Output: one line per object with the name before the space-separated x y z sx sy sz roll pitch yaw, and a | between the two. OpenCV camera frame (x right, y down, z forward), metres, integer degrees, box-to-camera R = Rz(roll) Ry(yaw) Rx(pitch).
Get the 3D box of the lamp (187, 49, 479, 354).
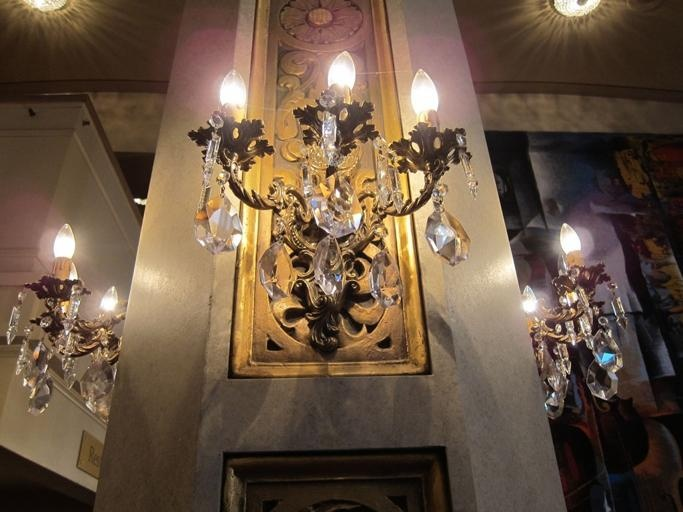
lamp | -0.023 -0.088 1.027 0.548 0.599 0.328 2 -32 -5
